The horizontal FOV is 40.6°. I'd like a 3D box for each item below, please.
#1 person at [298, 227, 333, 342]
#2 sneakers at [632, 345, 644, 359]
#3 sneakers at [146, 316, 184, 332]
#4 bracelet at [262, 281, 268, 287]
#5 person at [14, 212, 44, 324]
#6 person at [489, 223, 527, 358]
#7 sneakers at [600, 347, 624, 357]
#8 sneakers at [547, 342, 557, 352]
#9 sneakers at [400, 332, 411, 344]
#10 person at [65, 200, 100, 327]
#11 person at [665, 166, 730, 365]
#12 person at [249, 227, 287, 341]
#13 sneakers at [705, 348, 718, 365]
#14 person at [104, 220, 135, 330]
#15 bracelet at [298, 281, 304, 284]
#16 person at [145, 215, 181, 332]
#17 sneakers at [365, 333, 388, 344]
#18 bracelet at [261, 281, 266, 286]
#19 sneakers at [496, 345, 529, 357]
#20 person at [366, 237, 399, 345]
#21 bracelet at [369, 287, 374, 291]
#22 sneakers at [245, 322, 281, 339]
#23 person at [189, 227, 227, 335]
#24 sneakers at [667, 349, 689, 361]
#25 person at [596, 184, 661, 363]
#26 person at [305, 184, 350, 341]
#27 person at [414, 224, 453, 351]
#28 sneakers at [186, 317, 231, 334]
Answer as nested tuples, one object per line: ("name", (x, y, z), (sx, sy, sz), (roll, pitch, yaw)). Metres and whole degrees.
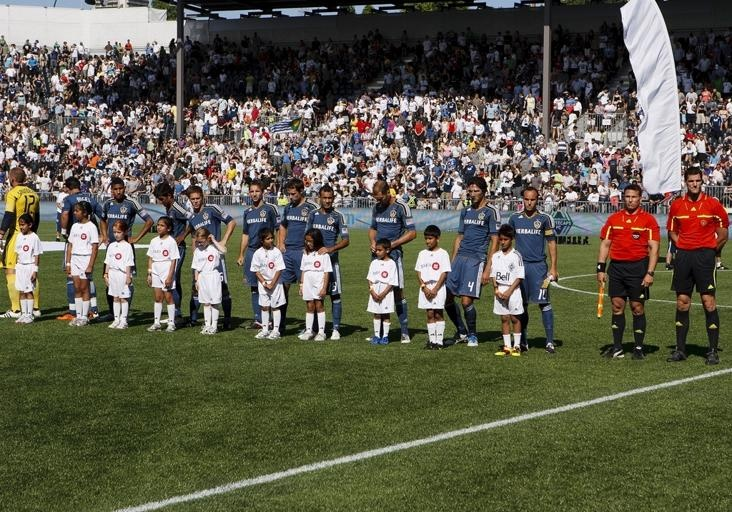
("person", (-0.800, 0.471, 15.656), (0.551, 1.835, 0.623), (-1, 13, 0))
("sneakers", (4.044, 1.414, 14.581), (0.106, 0.146, 0.304), (1, 2, 17))
("sneakers", (-3.357, 1.167, 16.575), (0.589, 0.263, 0.188), (18, -7, -43))
("bracelet", (-1.598, 0.442, 15.687), (0.055, 0.078, 0.025), (10, -9, -9))
("person", (-5.809, 0.215, 16.889), (0.482, 1.840, 0.745), (-5, 14, -19))
("person", (2.134, 0.501, 14.816), (0.513, 1.869, 0.816), (1, 13, 6))
("sneakers", (3.648, 1.426, 14.668), (0.150, 0.155, 0.331), (-2, 2, -44))
("sneakers", (2.829, 1.385, 14.996), (0.096, 0.110, 0.249), (0, -6, 13))
("sneakers", (0.629, 1.301, 15.728), (0.114, 0.137, 0.336), (-3, -8, 13))
("person", (-4.798, 0.112, 16.762), (0.571, 2.033, 0.753), (-5, 13, -18))
("person", (4.782, 0.128, 14.237), (0.823, 2.825, 0.740), (3, 13, 17))
("person", (-1.574, 0.444, 15.790), (0.521, 1.710, 0.554), (1, 13, 9))
("sneakers", (4.996, 1.460, 14.210), (0.112, 0.143, 0.328), (-6, -9, 27))
("person", (-4.113, 0.302, 16.519), (0.474, 1.789, 0.659), (-4, 13, -14))
("bracelet", (-1.028, 0.405, 15.722), (0.053, 0.059, 0.054), (1, 1, -35))
("person", (-3.390, 0.294, 16.493), (0.569, 1.949, 0.905), (-3, 13, -12))
("sneakers", (0.171, 1.292, 15.556), (0.359, 0.157, 0.135), (5, 7, 3))
("bracelet", (-1.612, 0.430, 15.701), (0.070, 0.091, 0.053), (-3, 13, -9))
("sneakers", (2.146, 1.413, 14.740), (0.305, 0.124, 0.173), (3, -3, 1))
("person", (0.289, 0.557, 15.473), (0.470, 1.670, 0.558), (0, 13, 1))
("bracelet", (0.087, 0.494, 15.311), (0.042, 0.043, 0.107), (-10, 17, -34))
("sneakers", (-1.632, 1.209, 15.896), (0.470, 0.234, 0.187), (4, -2, 1))
("person", (-2.566, 0.385, 16.198), (0.506, 1.679, 0.621), (-3, 13, -10))
("sneakers", (4.562, 1.437, 14.414), (0.342, 0.140, 0.128), (5, -6, -41))
("person", (3.874, 0.229, 14.601), (0.834, 2.580, 0.865), (3, 13, 14))
("person", (-0.673, 0.096, 15.831), (0.744, 2.398, 0.678), (1, 2, -3))
("person", (1.042, 0.464, 15.168), (0.520, 1.923, 0.604), (0, 13, 5))
("sneakers", (-2.640, 1.166, 16.505), (0.541, 0.255, 0.179), (-5, 10, 19))
